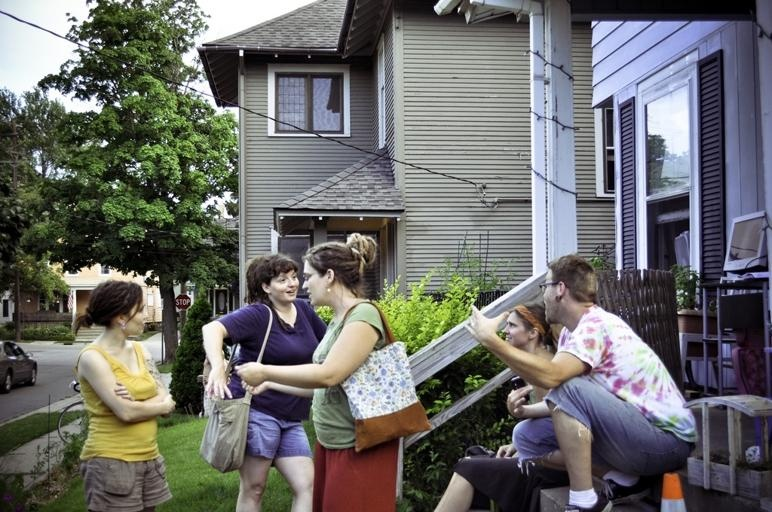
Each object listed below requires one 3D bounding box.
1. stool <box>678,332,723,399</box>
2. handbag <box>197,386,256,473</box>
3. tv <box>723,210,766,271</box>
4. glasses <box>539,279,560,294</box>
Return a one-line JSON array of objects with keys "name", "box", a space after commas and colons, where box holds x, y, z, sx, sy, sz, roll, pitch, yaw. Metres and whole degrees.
[{"name": "stool", "box": [4.595, 1.697, 9.673, 0.709, 0.539, 1.083, 2, -10, 20]}, {"name": "handbag", "box": [-1.429, 1.491, 6.053, 0.379, 0.899, 0.391, 3, -7, 28]}, {"name": "tv", "box": [4.785, -0.193, 8.797, 0.245, 0.738, 0.619, 17, -16, -7]}, {"name": "glasses", "box": [1.458, 0.275, 5.914, 0.180, 0.059, 0.180, 4, -8, -24]}]
